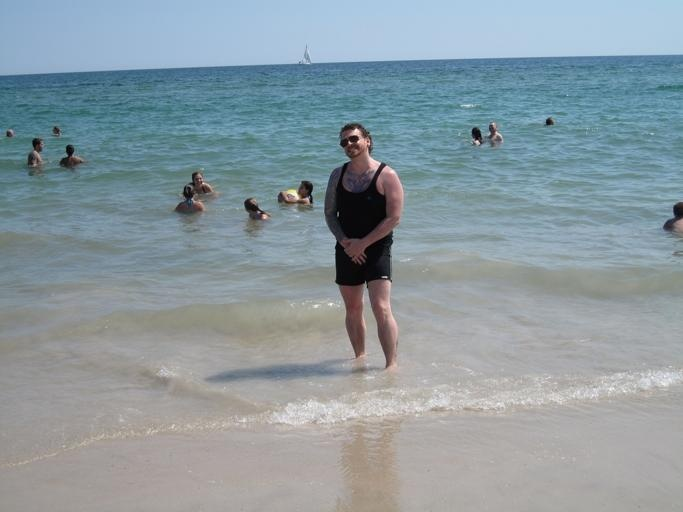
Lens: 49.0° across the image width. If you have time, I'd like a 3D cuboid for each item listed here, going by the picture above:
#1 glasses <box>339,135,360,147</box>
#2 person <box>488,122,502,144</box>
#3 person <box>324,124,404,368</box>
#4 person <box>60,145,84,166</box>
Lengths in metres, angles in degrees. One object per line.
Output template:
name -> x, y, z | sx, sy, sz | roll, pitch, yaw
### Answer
glasses -> 0.083, -1.118, 7.264 | 0.179, 0.107, 0.070 | -1, 13, 12
person -> 4.588, -3.678, 22.406 | 0.430, 0.642, 0.958 | -2, 12, 11
person -> 0.244, -0.072, 7.520 | 0.537, 2.489, 0.697 | -17, 18, -41
person -> -6.901, -2.560, 19.107 | 0.574, 0.538, 0.990 | -7, 12, -17
